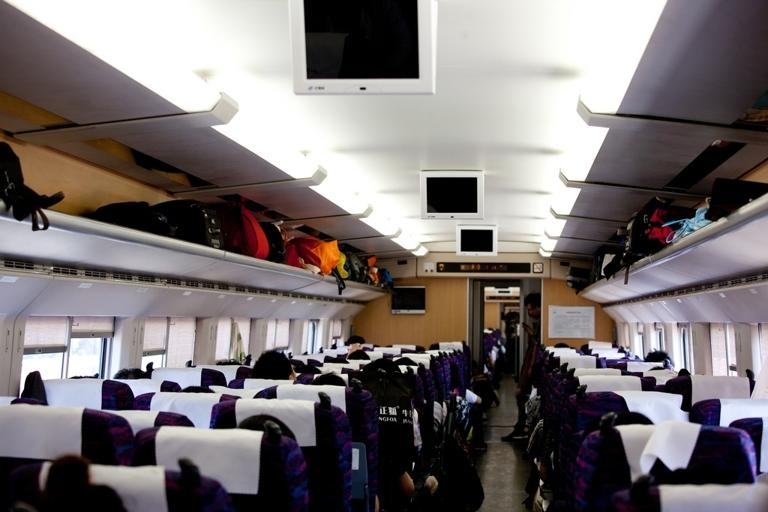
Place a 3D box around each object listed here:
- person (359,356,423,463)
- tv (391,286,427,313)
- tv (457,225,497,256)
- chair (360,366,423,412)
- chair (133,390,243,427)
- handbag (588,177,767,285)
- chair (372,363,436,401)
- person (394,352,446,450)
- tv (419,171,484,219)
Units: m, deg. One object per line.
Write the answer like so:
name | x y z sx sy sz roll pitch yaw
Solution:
person | 0.101 1.585 5.049 0.690 0.947 0.710 -11 -5 -11
tv | 0.869 1.515 17.093 1.177 0.966 0.360 0 -15 -1
tv | 2.115 -0.348 11.221 1.161 0.822 0.608 1 -1 6
chair | 0.062 1.452 5.471 0.737 0.650 0.367 2 -9 -12
chair | -1.348 1.055 3.381 0.403 0.148 0.126 2 12 7
handbag | 3.978 -0.177 6.746 1.769 0.480 1.242 -20 -4 10
chair | 0.223 1.495 5.826 0.885 0.373 0.999 0 -8 6
person | 0.492 1.746 6.165 0.620 0.831 0.580 -25 -20 32
tv | 1.118 -1.009 7.890 0.834 0.565 0.104 0 -1 4
